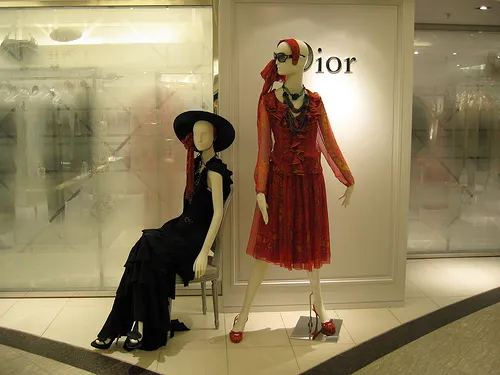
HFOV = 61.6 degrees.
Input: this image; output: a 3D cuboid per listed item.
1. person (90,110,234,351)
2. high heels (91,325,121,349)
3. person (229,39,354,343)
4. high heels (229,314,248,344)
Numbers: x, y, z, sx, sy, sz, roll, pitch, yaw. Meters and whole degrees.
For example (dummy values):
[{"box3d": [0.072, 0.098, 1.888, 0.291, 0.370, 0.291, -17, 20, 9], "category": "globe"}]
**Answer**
[{"box3d": [-0.581, 0.321, 3.281, 0.563, 1.763, 1.221, 11, 19, 38], "category": "person"}, {"box3d": [-1.110, 1.150, 3.194, 0.230, 0.165, 0.131, 18, -24, -35], "category": "high heels"}, {"box3d": [0.365, -0.243, 3.247, 0.778, 1.720, 0.454, 0, 14, 0], "category": "person"}, {"box3d": [-0.105, 1.125, 3.386, 0.069, 0.038, 0.250, 2, 38, 7], "category": "high heels"}]
